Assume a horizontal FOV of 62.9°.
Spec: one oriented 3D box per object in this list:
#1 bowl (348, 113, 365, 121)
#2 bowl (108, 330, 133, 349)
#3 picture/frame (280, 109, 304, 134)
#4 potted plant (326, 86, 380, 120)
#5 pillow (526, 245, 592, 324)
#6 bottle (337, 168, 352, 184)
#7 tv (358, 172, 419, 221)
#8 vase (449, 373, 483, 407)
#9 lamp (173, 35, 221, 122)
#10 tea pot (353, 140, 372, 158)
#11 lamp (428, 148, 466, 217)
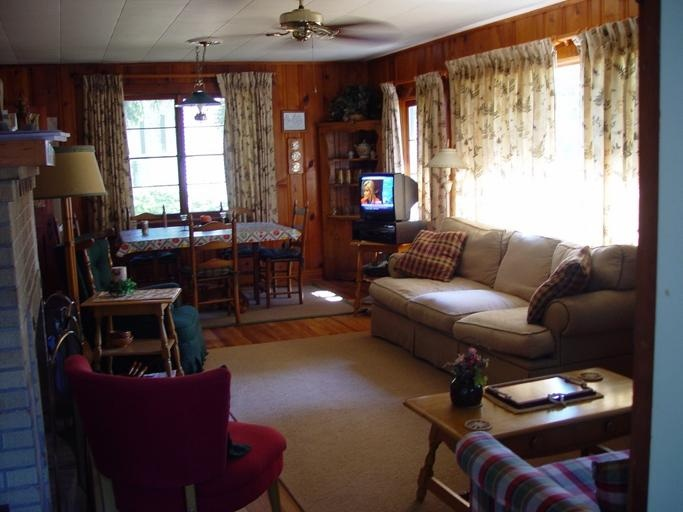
[{"bbox_3d":[0.198,-1.808,7.255,0.194,0.103,0.093,-4,11,1],"label":"bowl"},{"bbox_3d":[-1.446,0.547,3.666,0.106,0.068,0.111,0,-3,0],"label":"bowl"},{"bbox_3d":[-0.672,-1.810,7.444,0.324,0.281,0.033,-3,8,-23],"label":"picture/frame"},{"bbox_3d":[0.161,-1.975,7.370,0.567,0.395,0.489,3,8,33],"label":"potted plant"},{"bbox_3d":[1.484,0.192,3.715,0.540,0.451,0.238,-12,13,-35],"label":"pillow"},{"bbox_3d":[0.038,-1.089,7.511,0.177,0.197,0.179,-2,8,-30],"label":"bottle"},{"bbox_3d":[0.560,-0.672,6.383,0.464,0.565,0.691,-10,11,-41],"label":"tv"},{"bbox_3d":[0.597,0.649,2.748,0.150,0.144,0.152,0,0,41],"label":"vase"},{"bbox_3d":[-1.481,-1.866,5.914,0.483,0.816,0.496,0,11,-30],"label":"lamp"},{"bbox_3d":[0.296,-1.454,7.569,0.216,0.246,0.269,-6,11,-9],"label":"tea pot"},{"bbox_3d":[1.097,-0.741,5.769,0.348,0.751,1.071,-2,11,11],"label":"lamp"}]
